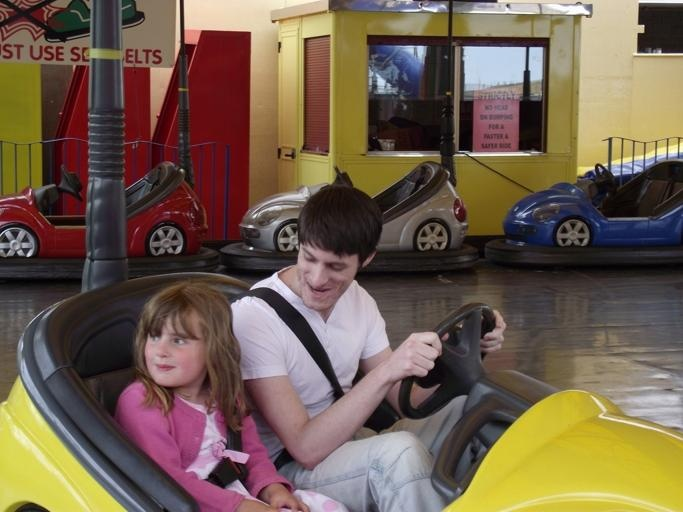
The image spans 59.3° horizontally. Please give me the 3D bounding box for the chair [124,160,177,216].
[{"bbox_3d":[-1.572,-0.566,5.025,0.461,0.420,0.444,-3,11,-20],"label":"chair"}]

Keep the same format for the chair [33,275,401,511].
[{"bbox_3d":[-0.345,0.302,1.376,0.555,0.201,0.411,9,0,-14],"label":"chair"}]
